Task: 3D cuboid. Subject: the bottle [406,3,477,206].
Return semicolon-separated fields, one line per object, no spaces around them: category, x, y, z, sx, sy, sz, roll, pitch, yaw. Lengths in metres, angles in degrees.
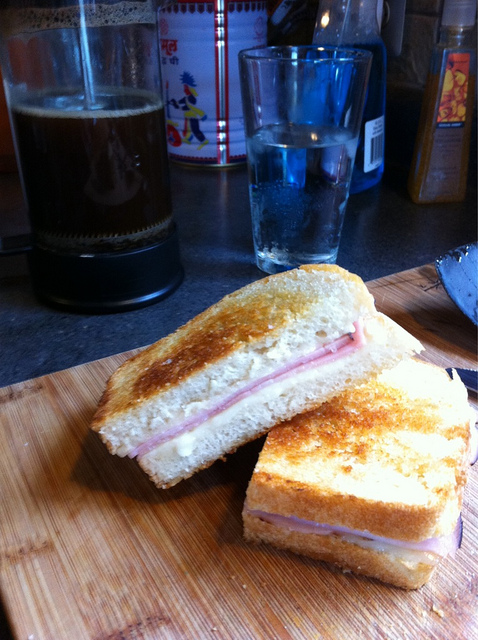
bottle;0.479;-0.482;1.238;0.141;0.443;0.141;-2;29;1

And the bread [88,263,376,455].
bread;0.018;0.107;0.648;0.313;0.075;0.240;-24;13;23

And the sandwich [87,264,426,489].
sandwich;0.044;0.131;0.690;0.362;0.114;0.267;-27;34;-9

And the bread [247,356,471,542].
bread;0.127;0.140;0.578;0.205;0.057;0.203;7;31;20

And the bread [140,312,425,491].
bread;0.074;0.112;0.610;0.316;0.051;0.176;-26;16;-8
